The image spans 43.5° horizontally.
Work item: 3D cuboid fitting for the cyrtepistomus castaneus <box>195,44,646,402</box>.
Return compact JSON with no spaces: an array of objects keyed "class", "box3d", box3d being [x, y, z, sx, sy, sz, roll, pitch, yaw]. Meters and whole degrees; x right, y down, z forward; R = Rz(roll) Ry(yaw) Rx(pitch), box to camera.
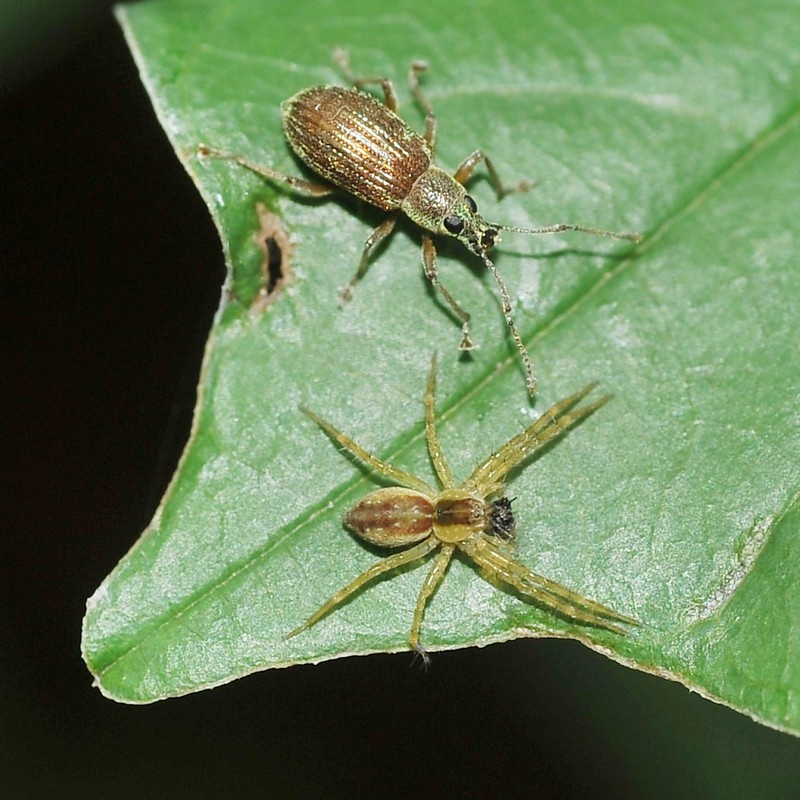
[{"class":"cyrtepistomus castaneus","box3d":[0.017,-1.267,6.159,1.838,0.640,1.315,42,81,8]}]
